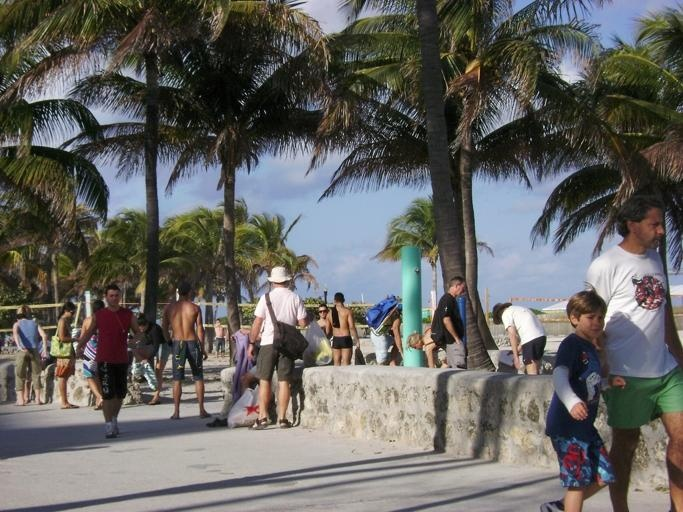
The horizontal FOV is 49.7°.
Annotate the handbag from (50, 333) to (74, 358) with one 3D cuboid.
[{"bbox_3d":[-5.672,1.836,15.033,0.499,0.623,0.267,4,6,8],"label":"handbag"}]

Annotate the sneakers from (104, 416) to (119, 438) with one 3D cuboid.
[{"bbox_3d":[-3.429,2.577,11.001,0.148,0.288,0.203,1,-10,-12],"label":"sneakers"}]

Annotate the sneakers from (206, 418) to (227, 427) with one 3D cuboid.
[{"bbox_3d":[-1.993,2.679,11.783,0.328,0.123,0.134,5,-9,-18],"label":"sneakers"}]

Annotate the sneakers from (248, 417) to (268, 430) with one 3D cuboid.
[{"bbox_3d":[-1.279,2.605,11.409,0.126,0.167,0.311,3,-6,-44],"label":"sneakers"}]

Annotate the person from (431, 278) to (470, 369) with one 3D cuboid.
[{"bbox_3d":[1.777,1.103,12.243,0.583,1.528,0.816,-3,-9,11],"label":"person"}]

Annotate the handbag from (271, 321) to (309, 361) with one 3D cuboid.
[{"bbox_3d":[-0.806,1.282,11.189,0.232,0.439,0.437,-16,-37,37],"label":"handbag"}]

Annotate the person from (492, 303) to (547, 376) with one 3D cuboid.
[{"bbox_3d":[3.029,1.379,12.571,0.784,1.258,1.574,-6,-11,26],"label":"person"}]
